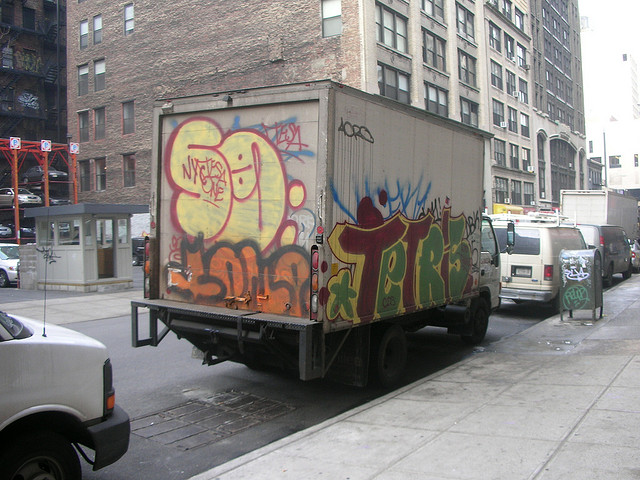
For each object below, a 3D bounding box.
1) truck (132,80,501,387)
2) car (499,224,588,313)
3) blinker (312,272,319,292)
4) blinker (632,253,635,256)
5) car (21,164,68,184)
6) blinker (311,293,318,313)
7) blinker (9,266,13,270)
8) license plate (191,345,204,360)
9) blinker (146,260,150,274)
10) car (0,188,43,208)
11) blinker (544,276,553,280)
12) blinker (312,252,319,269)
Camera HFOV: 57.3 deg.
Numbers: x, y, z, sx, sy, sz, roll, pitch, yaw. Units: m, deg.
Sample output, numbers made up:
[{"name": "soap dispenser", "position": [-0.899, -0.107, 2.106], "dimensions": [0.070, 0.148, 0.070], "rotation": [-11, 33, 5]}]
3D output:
[{"name": "truck", "position": [0.671, -0.017, 11.121], "dimensions": [3.427, 4.498, 7.340], "rotation": [1, 2, 36]}, {"name": "car", "position": [6.261, 0.643, 16.200], "dimensions": [1.720, 2.016, 3.487], "rotation": [-2, 1, 44]}, {"name": "blinker", "position": [-0.052, 0.542, 7.531], "dimensions": [0.088, 0.248, 0.031], "rotation": [0, 6, 27]}, {"name": "blinker", "position": [13.126, 0.614, 24.696], "dimensions": [0.091, 0.107, 0.174], "rotation": [-4, -12, 30]}, {"name": "car", "position": [-19.256, -4.725, 41.347], "dimensions": [2.380, 1.232, 3.920], "rotation": [-8, 8, -41]}, {"name": "blinker", "position": [-0.068, 0.807, 7.539], "dimensions": [0.091, 0.247, 0.045], "rotation": [-1, 5, 17]}, {"name": "blinker", "position": [-12.336, 1.139, 23.563], "dimensions": [0.079, 0.113, 0.148], "rotation": [-2, 0, 28]}, {"name": "license plate", "position": [-1.931, 1.810, 9.319], "dimensions": [0.060, 0.257, 0.223], "rotation": [5, 6, -45]}, {"name": "blinker", "position": [-2.636, 0.410, 9.038], "dimensions": [0.037, 0.156, 0.154], "rotation": [3, 2, -12]}, {"name": "car", "position": [-18.740, -2.666, 36.738], "dimensions": [2.099, 1.182, 4.011], "rotation": [-7, 7, -36]}, {"name": "blinker", "position": [5.671, 0.953, 14.638], "dimensions": [0.190, 0.075, 0.049], "rotation": [-3, 5, 7]}, {"name": "blinker", "position": [-0.056, 0.263, 7.542], "dimensions": [0.107, 0.178, 0.042], "rotation": [2, -2, 33]}]
